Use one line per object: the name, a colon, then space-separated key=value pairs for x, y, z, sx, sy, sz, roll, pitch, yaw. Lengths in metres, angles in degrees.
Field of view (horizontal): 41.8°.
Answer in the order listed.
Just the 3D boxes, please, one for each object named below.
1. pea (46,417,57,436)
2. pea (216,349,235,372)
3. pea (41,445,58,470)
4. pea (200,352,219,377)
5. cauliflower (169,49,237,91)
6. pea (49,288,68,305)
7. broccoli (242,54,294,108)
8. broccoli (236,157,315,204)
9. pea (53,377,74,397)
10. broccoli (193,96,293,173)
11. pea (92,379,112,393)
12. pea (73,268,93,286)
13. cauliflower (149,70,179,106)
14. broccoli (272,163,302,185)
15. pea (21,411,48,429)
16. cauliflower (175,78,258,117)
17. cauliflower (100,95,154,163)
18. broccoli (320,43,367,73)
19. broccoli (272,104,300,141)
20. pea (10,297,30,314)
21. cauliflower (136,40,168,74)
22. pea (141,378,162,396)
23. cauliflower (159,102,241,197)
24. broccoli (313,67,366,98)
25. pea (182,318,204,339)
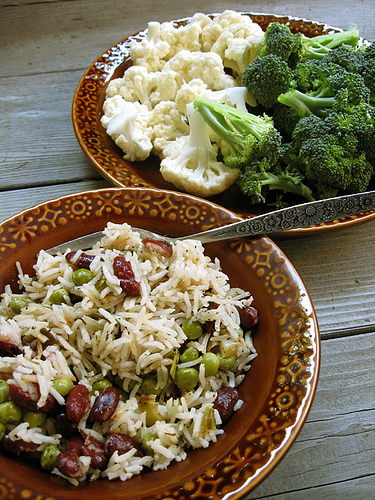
pea: x=-0.343 y=0.440 z=1.235 sx=0.024 sy=0.014 sz=0.045 roll=-15 pitch=55 yaw=-9
pea: x=0.104 y=0.298 z=1.360 sx=0.050 sy=0.052 sz=0.048 roll=18 pitch=30 yaw=21
pea: x=-0.323 y=0.485 z=1.153 sx=0.034 sy=0.035 sz=0.040 roll=21 pitch=88 yaw=38
pea: x=0.062 y=0.298 z=1.299 sx=0.063 sy=0.061 sz=0.056 roll=0 pitch=8 yaw=6
cauliflower: x=0.054 y=-0.798 z=2.252 sx=0.384 sy=0.165 sz=0.240 roll=-8 pitch=15 yaw=-20
pea: x=-0.358 y=0.129 z=1.367 sx=0.050 sy=0.033 sz=0.035 roll=-2 pitch=1 yaw=-30
broccoli: x=0.332 y=-0.709 z=2.038 sx=0.280 sy=0.173 sz=0.163 roll=-7 pitch=22 yaw=-13
broccoli: x=0.345 y=-0.242 z=1.934 sx=0.273 sy=0.116 sz=0.174 roll=19 pitch=70 yaw=8
pea: x=-0.308 y=0.338 z=1.219 sx=0.038 sy=0.031 sz=0.045 roll=0 pitch=3 yaw=-4
broccoli: x=0.193 y=-0.492 z=2.014 sx=0.354 sy=0.228 sz=0.178 roll=42 pitch=91 yaw=-7
pea: x=-0.222 y=0.347 z=1.278 sx=0.034 sy=0.028 sz=0.029 roll=-4 pitch=23 yaw=9
pea: x=-0.297 y=0.073 z=1.394 sx=0.055 sy=0.041 sz=0.039 roll=-5 pitch=60 yaw=-51
cauliflower: x=-0.111 y=-0.741 z=2.247 sx=0.126 sy=0.140 sz=0.058 roll=39 pitch=38 yaw=24
broccoli: x=0.403 y=-0.313 z=1.978 sx=0.099 sy=0.027 sz=0.104 roll=19 pitch=19 yaw=-19
pea: x=-0.371 y=0.409 z=1.202 sx=0.057 sy=0.037 sz=0.039 roll=-13 pitch=8 yaw=-18
cauliflower: x=0.123 y=-0.673 z=2.210 sx=0.354 sy=0.123 sz=0.254 roll=7 pitch=18 yaw=9
cauliflower: x=-0.270 y=-0.539 z=2.159 sx=0.276 sy=0.281 sz=0.225 roll=-13 pitch=26 yaw=-27
broccoli: x=0.668 y=-0.809 z=2.060 sx=0.166 sy=0.050 sz=0.133 roll=0 pitch=62 yaw=-6
broccoli: x=0.421 y=-0.559 z=2.120 sx=0.133 sy=0.123 sz=0.061 roll=-7 pitch=22 yaw=-15
pea: x=-0.468 y=0.152 z=1.359 sx=0.051 sy=0.033 sz=0.038 roll=-9 pitch=11 yaw=-44
cauliflower: x=-0.170 y=-0.916 z=2.361 sx=0.144 sy=0.159 sz=0.105 roll=17 pitch=29 yaw=38
pea: x=-0.101 y=0.354 z=1.308 sx=0.048 sy=0.035 sz=0.035 roll=28 pitch=43 yaw=22
cauliflower: x=0.006 y=-0.453 z=2.085 sx=0.415 sy=0.371 sz=0.258 roll=-10 pitch=23 yaw=-23
broccoli: x=0.624 y=-0.677 z=1.998 sx=0.184 sy=0.106 sz=0.209 roll=-4 pitch=16 yaw=-10
pea: x=0.015 y=0.214 z=1.353 sx=0.054 sy=0.053 sz=0.056 roll=0 pitch=6 yaw=2
